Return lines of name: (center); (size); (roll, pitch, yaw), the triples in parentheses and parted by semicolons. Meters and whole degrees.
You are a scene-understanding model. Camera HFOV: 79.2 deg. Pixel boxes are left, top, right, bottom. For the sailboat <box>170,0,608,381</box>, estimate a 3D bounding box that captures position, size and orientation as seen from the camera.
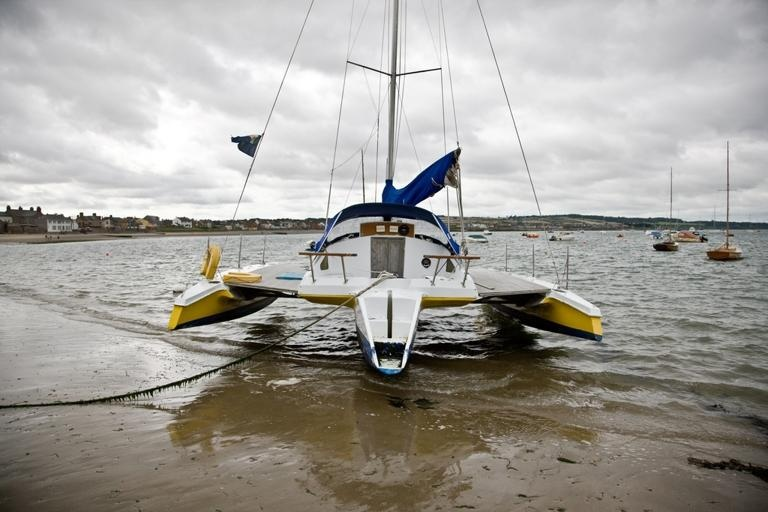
sailboat: (0.042, -1.013, 11.404); (8.864, 7.684, 9.187); (1, 5, 1)
